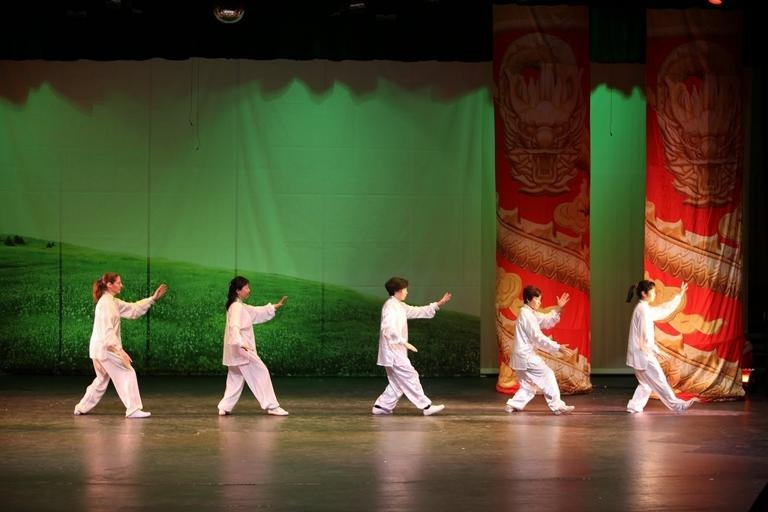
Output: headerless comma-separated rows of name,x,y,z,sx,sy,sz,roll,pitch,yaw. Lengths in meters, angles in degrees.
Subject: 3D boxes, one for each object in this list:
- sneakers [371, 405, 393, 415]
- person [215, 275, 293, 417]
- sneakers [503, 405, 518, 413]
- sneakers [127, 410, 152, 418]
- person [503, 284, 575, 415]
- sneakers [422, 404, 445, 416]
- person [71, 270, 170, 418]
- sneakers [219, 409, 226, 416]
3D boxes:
sneakers,-0.031,1.843,8.794,0.227,0.093,0.095,-1,-1,-4
person,-1.587,1.069,8.785,0.781,1.631,0.604,-1,2,-14
sneakers,1.545,1.875,9.014,0.110,0.043,0.087,-4,-5,44
sneakers,-2.808,1.824,8.462,0.243,0.100,0.087,-3,1,-10
person,1.903,1.152,9.104,0.774,1.534,0.568,0,2,10
sneakers,0.583,1.841,8.783,0.287,0.115,0.103,-18,27,11
person,-3.107,1.040,8.621,0.935,1.666,0.543,0,2,19
sneakers,-1.879,1.841,8.653,0.130,0.059,0.120,-1,1,-13
